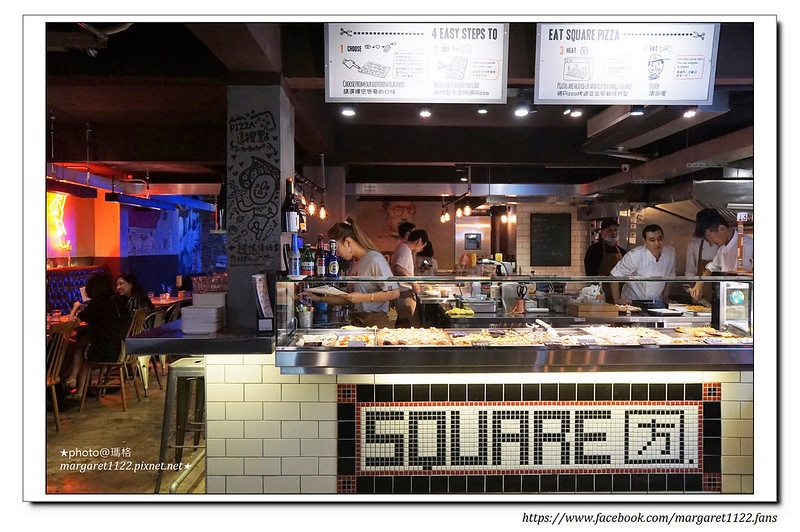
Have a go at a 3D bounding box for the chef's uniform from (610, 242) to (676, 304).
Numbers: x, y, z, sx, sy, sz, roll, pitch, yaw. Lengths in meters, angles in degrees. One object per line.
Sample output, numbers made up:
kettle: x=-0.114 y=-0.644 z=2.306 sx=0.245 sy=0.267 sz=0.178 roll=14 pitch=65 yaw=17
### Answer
chef's uniform: x=3.208 y=0.197 z=8.480 sx=0.988 sy=0.813 sz=0.393 roll=8 pitch=-5 yaw=-24

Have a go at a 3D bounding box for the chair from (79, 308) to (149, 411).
chair: x=-4.028 y=1.288 z=8.892 sx=0.901 sy=1.196 sz=0.783 roll=-3 pitch=1 yaw=6

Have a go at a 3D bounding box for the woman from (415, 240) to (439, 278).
woman: x=0.459 y=-0.258 z=12.582 sx=0.411 sy=0.330 sz=1.150 roll=5 pitch=37 yaw=4

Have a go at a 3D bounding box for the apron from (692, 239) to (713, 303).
apron: x=4.433 y=0.102 z=9.378 sx=0.223 sy=0.988 sz=0.043 roll=14 pitch=-8 yaw=-26

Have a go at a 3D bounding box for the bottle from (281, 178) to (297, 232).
bottle: x=-1.114 y=-0.614 z=6.503 sx=0.160 sy=0.543 sz=0.232 roll=-2 pitch=11 yaw=-4

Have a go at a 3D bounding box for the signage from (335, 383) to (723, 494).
signage: x=1.348 y=1.582 z=6.142 sx=3.680 sy=1.033 sz=0.058 roll=1 pitch=6 yaw=-3

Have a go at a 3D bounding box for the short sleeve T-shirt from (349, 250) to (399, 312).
short sleeve T-shirt: x=-0.275 y=0.186 z=6.750 sx=0.392 sy=0.548 sz=0.678 roll=5 pitch=-9 yaw=-26

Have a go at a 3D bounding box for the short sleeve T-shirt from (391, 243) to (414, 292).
short sleeve T-shirt: x=0.048 y=-0.084 z=9.418 sx=0.302 sy=0.516 sz=0.490 roll=1 pitch=17 yaw=6

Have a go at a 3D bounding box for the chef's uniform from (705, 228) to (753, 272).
chef's uniform: x=4.391 y=-0.211 z=8.488 sx=0.396 sy=0.520 sz=0.638 roll=2 pitch=-3 yaw=6

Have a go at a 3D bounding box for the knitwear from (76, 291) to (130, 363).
knitwear: x=-3.947 y=0.848 z=8.590 sx=0.586 sy=0.860 sz=0.298 roll=-5 pitch=12 yaw=-23

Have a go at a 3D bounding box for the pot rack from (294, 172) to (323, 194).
pot rack: x=-1.324 y=-1.227 z=9.563 sx=0.390 sy=0.287 sz=1.581 roll=-2 pitch=9 yaw=-6
